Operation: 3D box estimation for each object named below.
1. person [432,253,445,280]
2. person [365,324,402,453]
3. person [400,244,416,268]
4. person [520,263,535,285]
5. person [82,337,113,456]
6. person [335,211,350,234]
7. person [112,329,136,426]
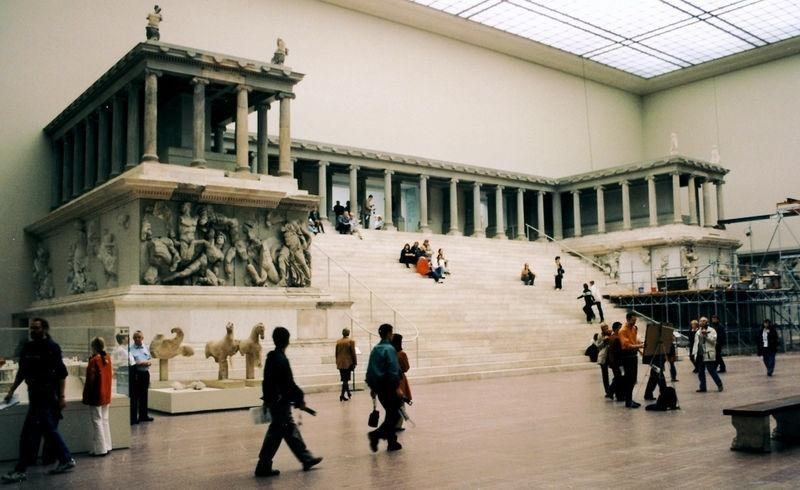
[{"bbox_3d":[2.107,1.294,50.243,0.714,1.430,0.723,-2,-4,2],"label":"person"},{"bbox_3d":[-0.545,4.841,31.198,1.185,4.269,0.975,-1,-4,-2],"label":"person"},{"bbox_3d":[0.437,0.622,51.179,0.884,1.289,0.592,-2,-4,-1],"label":"person"},{"bbox_3d":[7.571,1.732,53.970,0.742,1.316,1.305,-4,-5,29],"label":"person"},{"bbox_3d":[-10.342,5.177,31.375,0.991,4.002,0.628,1,-5,-27],"label":"person"},{"bbox_3d":[-3.303,-1.260,52.799,0.827,1.290,0.442,-4,-5,30],"label":"person"},{"bbox_3d":[-9.811,4.670,32.604,0.508,3.196,1.415,-2,-4,-2],"label":"person"}]
